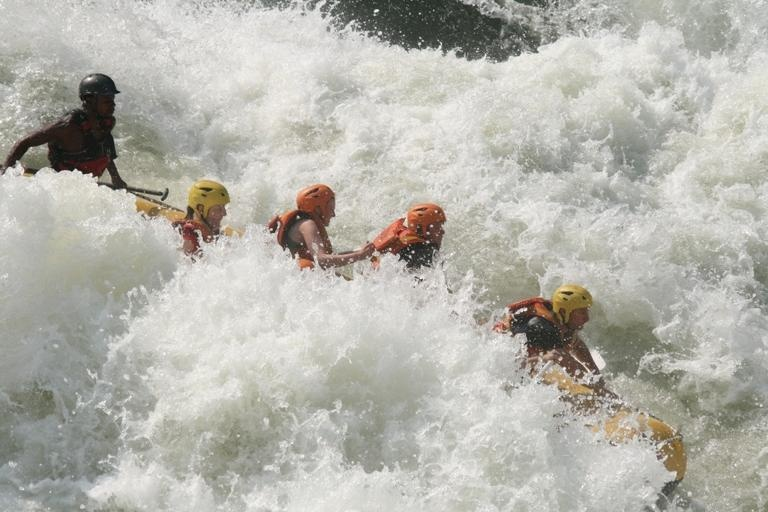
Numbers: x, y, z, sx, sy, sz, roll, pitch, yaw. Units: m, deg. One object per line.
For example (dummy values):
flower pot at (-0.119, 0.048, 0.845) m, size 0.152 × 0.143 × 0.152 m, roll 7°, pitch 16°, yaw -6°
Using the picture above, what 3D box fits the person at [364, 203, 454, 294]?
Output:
person at (0.461, -0.167, 16.154) m, size 1.042 × 0.897 × 1.207 m, roll 40°, pitch 96°, yaw 2°

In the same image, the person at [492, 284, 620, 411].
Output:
person at (2.595, 1.358, 15.192) m, size 1.415 × 1.070 × 1.760 m, roll -13°, pitch 58°, yaw -14°

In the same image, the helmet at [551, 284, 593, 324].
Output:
helmet at (2.812, 0.722, 15.385) m, size 0.637 × 0.481 × 0.570 m, roll 6°, pitch 99°, yaw 4°

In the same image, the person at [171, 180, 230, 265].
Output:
person at (-2.838, -0.535, 15.310) m, size 0.766 × 0.540 × 1.158 m, roll 4°, pitch 91°, yaw 33°

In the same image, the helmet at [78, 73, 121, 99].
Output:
helmet at (-4.429, -2.626, 15.624) m, size 0.519 × 0.367 × 0.262 m, roll -4°, pitch 101°, yaw -7°
